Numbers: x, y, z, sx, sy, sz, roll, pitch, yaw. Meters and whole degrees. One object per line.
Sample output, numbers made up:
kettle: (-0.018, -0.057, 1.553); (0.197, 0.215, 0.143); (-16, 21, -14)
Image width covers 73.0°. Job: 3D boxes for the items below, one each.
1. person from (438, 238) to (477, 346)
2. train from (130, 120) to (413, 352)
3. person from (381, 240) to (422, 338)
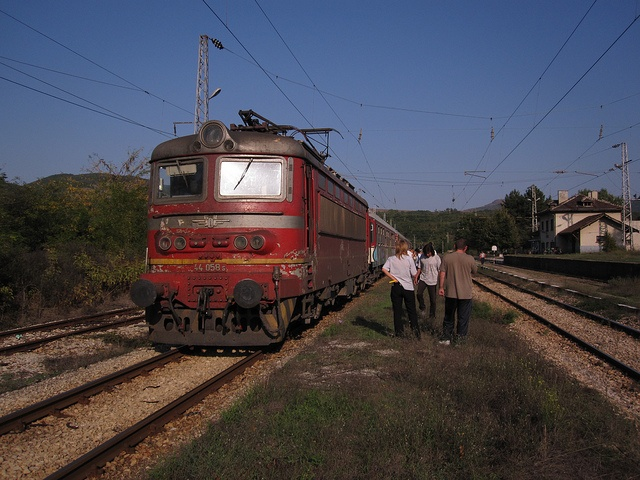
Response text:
person: (2.971, 1.241, 9.511); (0.720, 2.136, 0.741); (0, 5, 17)
train: (-1.224, -0.133, 10.570); (2.833, 5.101, 6.116); (1, 6, 26)
person: (1.832, 1.226, 10.058); (0.776, 2.145, 0.683); (-2, 12, 8)
